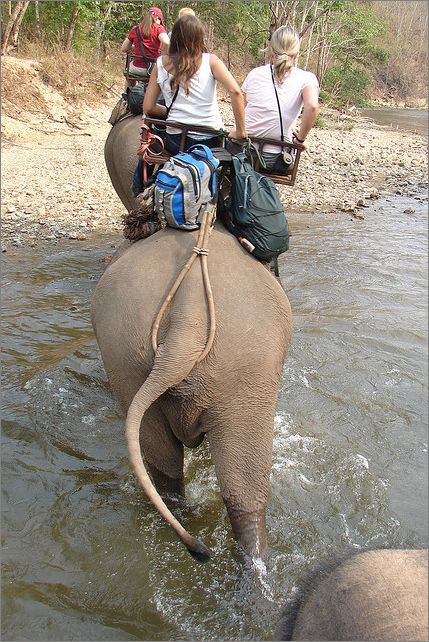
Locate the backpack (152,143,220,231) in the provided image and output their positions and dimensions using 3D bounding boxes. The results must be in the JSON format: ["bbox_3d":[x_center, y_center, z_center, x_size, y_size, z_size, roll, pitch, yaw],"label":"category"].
[{"bbox_3d":[-0.119,-0.640,2.588,0.256,0.346,0.372,31,44,33],"label":"backpack"}]

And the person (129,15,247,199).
[{"bbox_3d":[-0.143,-1.330,3.402,0.662,1.014,0.820,-21,38,-36],"label":"person"}]

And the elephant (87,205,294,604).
[{"bbox_3d":[-0.044,0.166,2.298,0.568,0.878,1.742,-4,30,-5],"label":"elephant"}]
